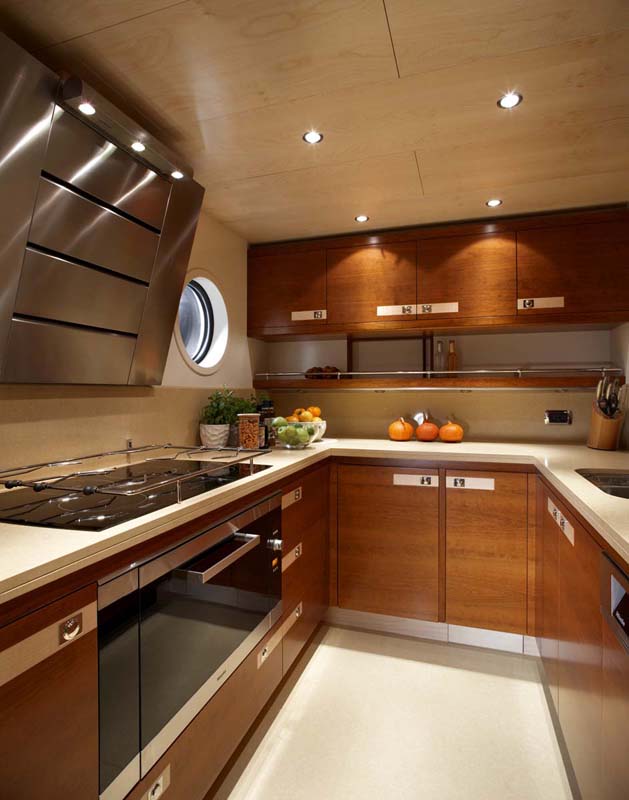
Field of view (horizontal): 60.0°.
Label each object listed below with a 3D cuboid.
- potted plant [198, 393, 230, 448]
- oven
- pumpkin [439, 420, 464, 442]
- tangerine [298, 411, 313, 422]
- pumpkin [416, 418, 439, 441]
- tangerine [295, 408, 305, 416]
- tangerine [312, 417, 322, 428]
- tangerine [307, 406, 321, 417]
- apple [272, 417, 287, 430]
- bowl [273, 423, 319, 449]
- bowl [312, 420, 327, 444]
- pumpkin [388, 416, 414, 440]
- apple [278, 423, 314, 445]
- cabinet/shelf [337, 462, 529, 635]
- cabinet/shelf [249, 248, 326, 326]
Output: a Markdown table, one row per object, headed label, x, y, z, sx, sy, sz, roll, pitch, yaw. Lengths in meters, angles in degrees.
| label | x | y | z | sx | sy | sz | roll | pitch | yaw |
| --- | --- | --- | --- | --- | --- | --- | --- | --- | --- |
| potted plant | -0.463 | 0.090 | 2.481 | 0.128 | 0.231 | 0.269 | -1 | 3 | -22 |
| oven | -0.302 | 0.377 | 1.217 | 0.335 | 0.415 | 0.681 | 0 | 4 | 15 |
| pumpkin | 0.686 | 0.163 | 2.745 | 0.111 | 0.110 | 0.110 | 0 | 7 | -4 |
| tangerine | -0.048 | 0.072 | 2.516 | 0.053 | 0.049 | 0.045 | -8 | 31 | 11 |
| pumpkin | 0.595 | 0.154 | 2.854 | 0.102 | 0.140 | 0.103 | -3 | -3 | 8 |
| tangerine | -0.074 | 0.060 | 2.633 | 0.034 | 0.033 | 0.039 | 25 | 21 | -36 |
| tangerine | 0.014 | 0.103 | 2.571 | 0.031 | 0.037 | 0.031 | -3 | 0 | -5 |
| tangerine | -0.002 | 0.061 | 2.907 | 0.055 | 0.055 | 0.056 | -2 | -2 | 1 |
| apple | -0.160 | 0.104 | 2.440 | 0.046 | 0.037 | 0.060 | -3 | 9 | 11 |
| bowl | -0.079 | 0.171 | 2.422 | 0.127 | 0.074 | 0.132 | 0 | -6 | 0 |
| bowl | 0.025 | 0.156 | 2.610 | 0.088 | 0.072 | 0.101 | -1 | 2 | -10 |
| pumpkin | 0.468 | 0.149 | 2.924 | 0.116 | 0.123 | 0.115 | 5 | -4 | -34 |
| apple | -0.082 | 0.156 | 2.395 | 0.100 | 0.060 | 0.107 | -1 | -5 | 17 |
| cabinet/shelf | 0.545 | 0.635 | 2.348 | 0.762 | 0.647 | 0.277 | 0 | -1 | 17 |
| cabinet/shelf | -0.127 | -0.607 | 2.934 | 0.417 | 0.415 | 0.220 | -1 | -3 | 20 |
